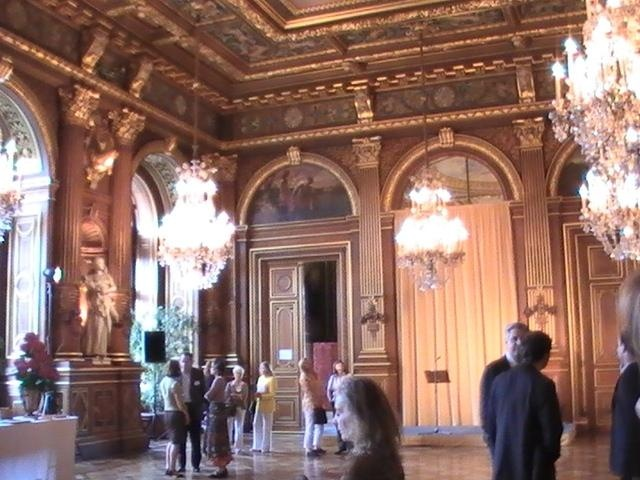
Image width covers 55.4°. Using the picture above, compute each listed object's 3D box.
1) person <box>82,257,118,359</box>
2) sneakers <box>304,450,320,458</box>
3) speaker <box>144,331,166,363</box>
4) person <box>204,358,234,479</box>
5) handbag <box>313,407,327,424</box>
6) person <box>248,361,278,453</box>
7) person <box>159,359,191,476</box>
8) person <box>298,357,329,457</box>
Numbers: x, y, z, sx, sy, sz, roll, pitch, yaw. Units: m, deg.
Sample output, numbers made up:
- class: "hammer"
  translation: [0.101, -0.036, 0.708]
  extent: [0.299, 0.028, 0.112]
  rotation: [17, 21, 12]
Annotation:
- class: "person"
  translation: [-3.857, 1.172, 10.628]
  extent: [0.339, 1.728, 0.842]
  rotation: [-5, -14, 20]
- class: "sneakers"
  translation: [-0.134, 3.642, 10.374]
  extent: [0.251, 0.112, 0.096]
  rotation: [-1, -1, 4]
- class: "speaker"
  translation: [-3.145, 2.047, 11.793]
  extent: [0.479, 0.765, 0.524]
  rotation: [1, -5, -18]
- class: "person"
  translation: [-1.563, 2.681, 9.312]
  extent: [0.403, 1.684, 1.659]
  rotation: [1, -14, -8]
- class: "handbag"
  translation: [-0.011, 3.019, 10.459]
  extent: [0.226, 0.286, 0.207]
  rotation: [0, -13, -5]
- class: "person"
  translation: [-1.009, 2.976, 10.866]
  extent: [0.368, 1.544, 0.586]
  rotation: [1, -13, -6]
- class: "person"
  translation: [-2.073, 2.526, 8.642]
  extent: [0.372, 1.591, 0.520]
  rotation: [4, -14, -18]
- class: "person"
  translation: [-0.137, 2.898, 10.607]
  extent: [0.441, 1.630, 0.790]
  rotation: [0, -13, -1]
